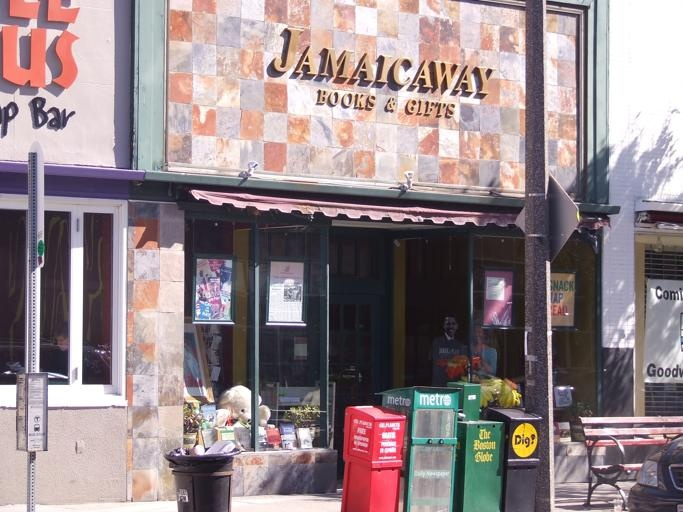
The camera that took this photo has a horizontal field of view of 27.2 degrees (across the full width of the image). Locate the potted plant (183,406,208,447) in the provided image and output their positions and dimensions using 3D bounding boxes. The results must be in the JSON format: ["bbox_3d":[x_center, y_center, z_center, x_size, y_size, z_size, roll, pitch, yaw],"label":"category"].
[{"bbox_3d":[-2.207,2.499,20.973,0.434,0.561,0.478,1,-3,-3],"label":"potted plant"}]

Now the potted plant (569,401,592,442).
[{"bbox_3d":[3.847,2.651,22.578,0.534,0.632,0.325,0,0,2],"label":"potted plant"}]

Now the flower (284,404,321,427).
[{"bbox_3d":[-0.601,2.425,21.630,0.386,0.357,0.150,-3,2,-17],"label":"flower"}]

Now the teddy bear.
[{"bbox_3d":[-1.581,2.408,21.386,0.648,1.165,0.878,-16,-16,38],"label":"teddy bear"}]
